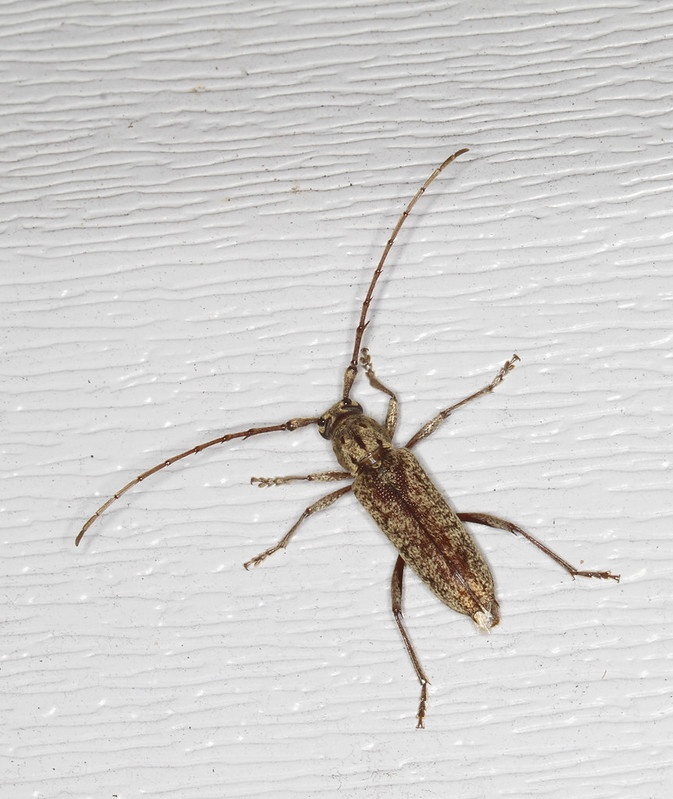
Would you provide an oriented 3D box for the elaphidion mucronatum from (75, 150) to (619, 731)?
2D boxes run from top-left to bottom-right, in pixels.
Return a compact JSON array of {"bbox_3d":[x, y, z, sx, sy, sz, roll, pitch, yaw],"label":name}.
[{"bbox_3d":[0.322,0.492,6.375,3.216,0.534,2.171,-39,66,-5],"label":"elaphidion mucronatum"}]
